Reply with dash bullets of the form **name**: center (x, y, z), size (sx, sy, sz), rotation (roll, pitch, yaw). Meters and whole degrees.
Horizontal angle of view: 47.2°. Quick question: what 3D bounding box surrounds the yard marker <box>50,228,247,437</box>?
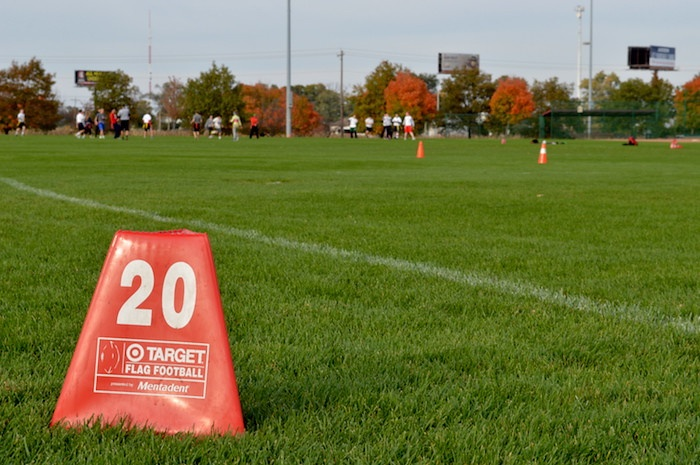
- **yard marker**: center (-1.208, 0.552, 4.978), size (1.199, 1.298, 0.729), rotation (7, 14, -3)
